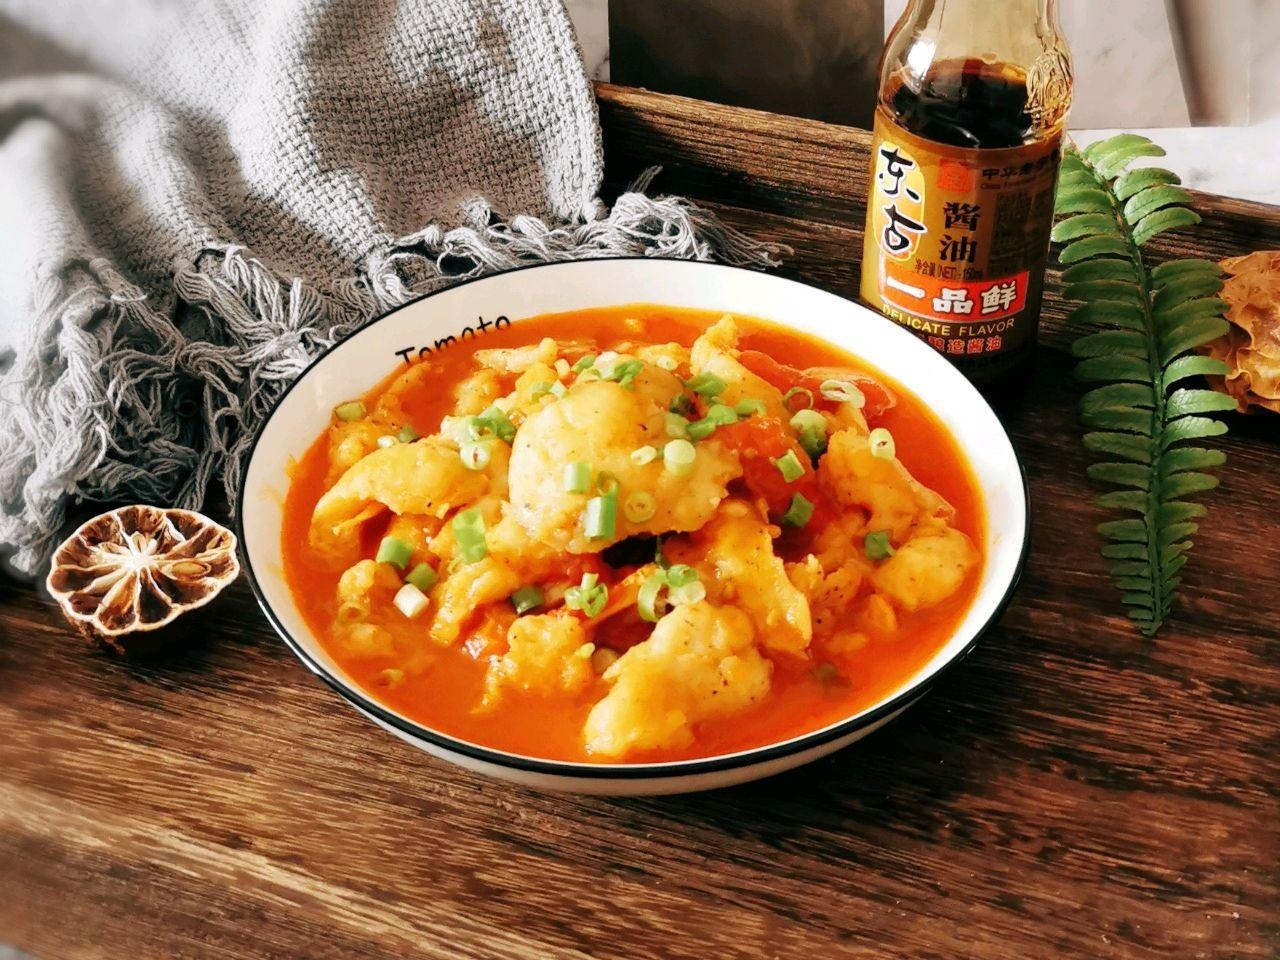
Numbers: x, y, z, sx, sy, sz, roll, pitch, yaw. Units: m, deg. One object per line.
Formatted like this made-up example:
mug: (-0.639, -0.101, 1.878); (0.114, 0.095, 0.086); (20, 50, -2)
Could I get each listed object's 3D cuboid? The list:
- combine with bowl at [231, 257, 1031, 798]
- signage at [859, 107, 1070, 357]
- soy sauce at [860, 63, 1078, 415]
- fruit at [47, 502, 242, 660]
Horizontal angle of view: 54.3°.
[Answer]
combine with bowl: (0.018, 0.139, 2.799); (1.746, 0.767, 1.598); (-3, 21, -8)
signage: (0.746, -0.645, 3.158); (0.495, 0.573, 0.440); (-13, 24, -31)
soy sauce: (0.729, -0.601, 3.068); (0.453, 0.787, 0.394); (-13, 28, -26)
fruit: (-1.183, 0.179, 3.077); (0.526, 0.320, 0.470); (-11, 21, -29)
